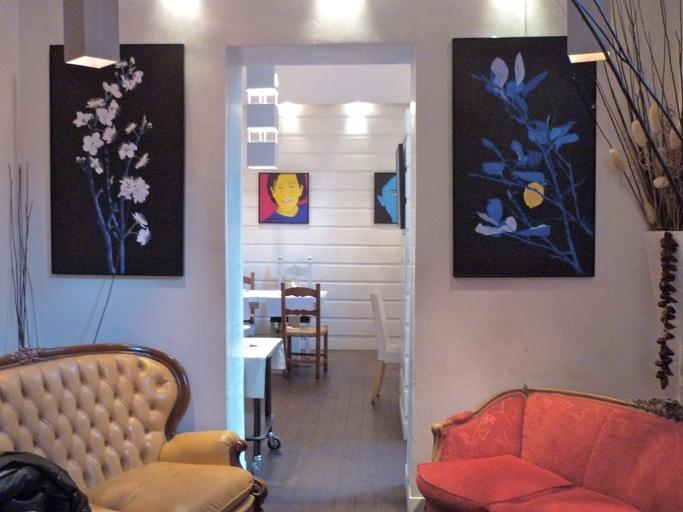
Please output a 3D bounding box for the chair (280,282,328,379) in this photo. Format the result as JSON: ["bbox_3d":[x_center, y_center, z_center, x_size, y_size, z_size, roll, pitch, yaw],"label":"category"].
[{"bbox_3d":[-0.392,0.751,6.655,0.472,1.044,1.097,-1,7,-1],"label":"chair"}]
